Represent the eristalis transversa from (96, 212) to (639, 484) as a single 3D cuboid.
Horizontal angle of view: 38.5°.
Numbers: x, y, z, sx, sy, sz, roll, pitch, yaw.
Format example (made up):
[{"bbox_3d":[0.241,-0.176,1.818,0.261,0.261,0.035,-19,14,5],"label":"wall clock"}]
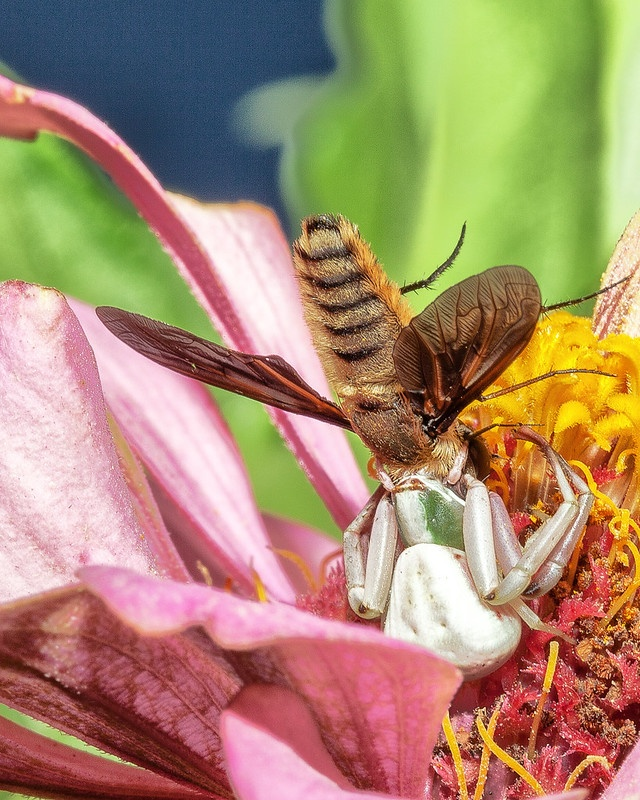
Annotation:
[{"bbox_3d":[0.013,-0.070,0.619,0.288,0.206,0.149,23,47,20],"label":"eristalis transversa"}]
